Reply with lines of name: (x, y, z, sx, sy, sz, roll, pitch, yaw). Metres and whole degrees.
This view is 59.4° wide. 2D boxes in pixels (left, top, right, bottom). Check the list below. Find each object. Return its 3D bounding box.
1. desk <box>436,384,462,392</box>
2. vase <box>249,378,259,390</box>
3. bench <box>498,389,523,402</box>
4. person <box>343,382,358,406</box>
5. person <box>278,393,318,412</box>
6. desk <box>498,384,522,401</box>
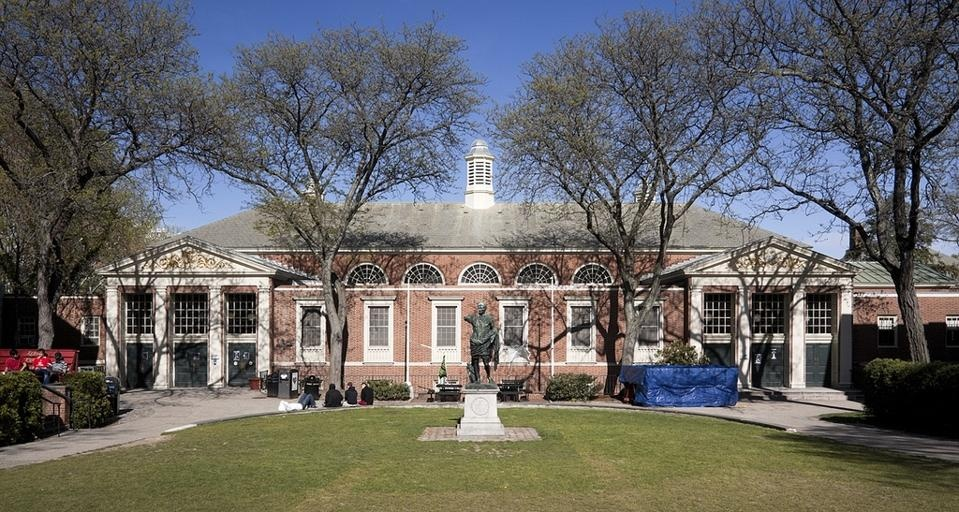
desk: (-2.064, 9.130, 58.290, 1.525, 0.535, 1.008, 1, -10, -12)
vase: (-16.082, 9.160, 60.215, 0.823, 0.677, 0.835, -8, -10, 39)
bench: (2.019, 9.598, 58.054, 2.372, 0.942, 2.313, 0, -8, 0)
person: (-8.490, 9.172, 55.420, 0.867, 1.226, 1.065, 1, -10, -10)
person: (-11.491, 9.270, 52.886, 1.585, 0.588, 1.220, 0, -1, -28)
desk: (2.035, 9.407, 58.254, 1.886, 1.067, 1.818, 0, -10, 0)
